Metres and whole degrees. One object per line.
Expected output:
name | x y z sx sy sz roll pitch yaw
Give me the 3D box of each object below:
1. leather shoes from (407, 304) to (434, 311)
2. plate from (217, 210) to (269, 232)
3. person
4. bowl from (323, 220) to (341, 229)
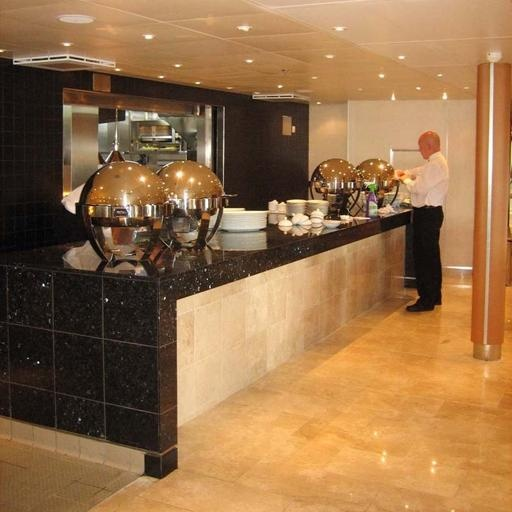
leather shoes | 1.822 0.564 5.444 0.294 0.116 0.106 3 -2 -8
plate | -0.093 -0.257 3.646 0.349 0.151 0.239 0 4 -8
person | 1.921 -0.417 5.662 0.522 2.016 0.867 2 4 18
bowl | 0.657 -0.275 4.233 0.146 0.072 0.261 1 4 8
